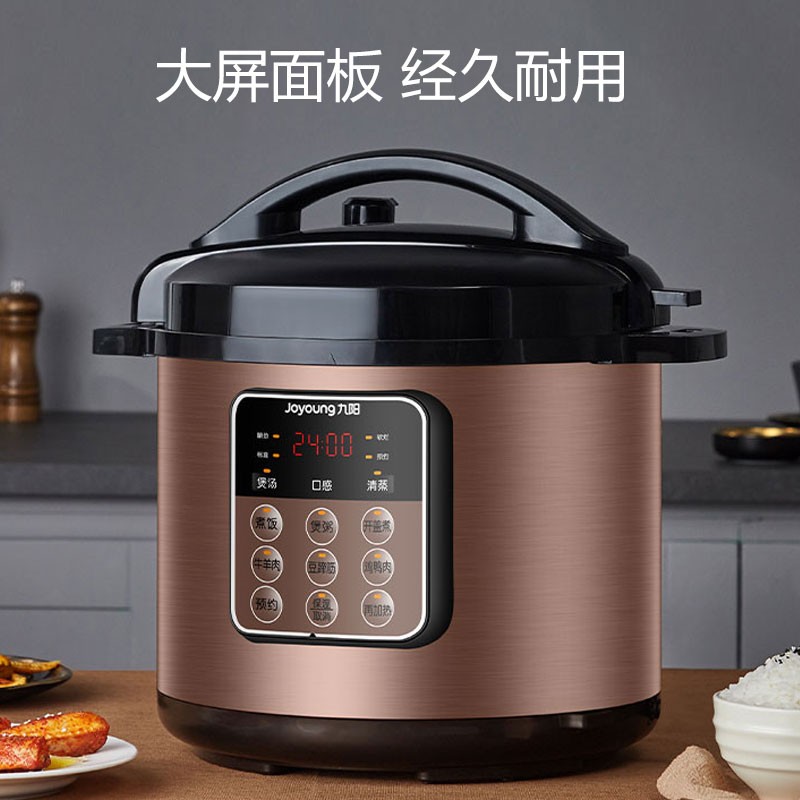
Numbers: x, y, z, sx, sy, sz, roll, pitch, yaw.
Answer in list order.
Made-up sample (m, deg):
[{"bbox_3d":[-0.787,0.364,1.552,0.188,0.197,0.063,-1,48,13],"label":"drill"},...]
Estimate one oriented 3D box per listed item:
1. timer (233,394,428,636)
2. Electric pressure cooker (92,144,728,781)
[{"bbox_3d":[-0.031,0.051,0.461,0.090,0.107,0.019,0,-4,16],"label":"timer"},{"bbox_3d":[-0.021,0.043,0.603,0.416,0.296,0.269,0,2,13],"label":"Electric pressure cooker"}]
